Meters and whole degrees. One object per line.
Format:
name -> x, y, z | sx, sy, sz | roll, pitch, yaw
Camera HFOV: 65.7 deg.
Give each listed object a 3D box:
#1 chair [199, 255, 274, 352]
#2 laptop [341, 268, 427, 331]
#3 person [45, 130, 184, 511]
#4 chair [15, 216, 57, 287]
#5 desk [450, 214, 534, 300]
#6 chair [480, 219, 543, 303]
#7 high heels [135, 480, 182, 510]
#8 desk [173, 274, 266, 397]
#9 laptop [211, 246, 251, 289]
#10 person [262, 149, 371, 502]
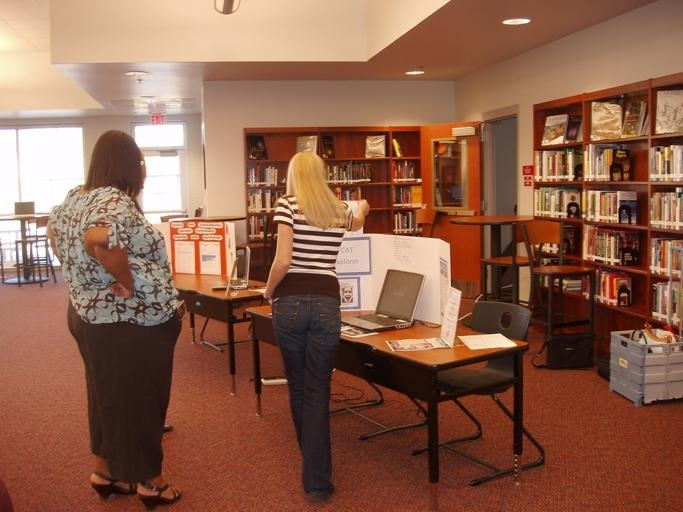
chair -> -1.093, 0.516, 5.284 | 0.713, 0.582, 1.022 | -9, 15, -36
laptop -> 0.289, 0.308, 3.623 | 0.468, 0.327, 0.429 | -4, 8, -32
person -> -1.301, 0.430, 3.066 | 0.656, 2.289, 0.505 | 0, 7, 22
chair -> -6.689, -0.169, 11.907 | 0.708, 1.258, 0.673 | 11, -14, 10
desk -> 2.096, 0.033, 7.031 | 1.069, 1.111, 1.107 | -3, -6, 3
chair -> 2.188, 0.036, 6.846 | 0.886, 1.032, 0.926 | -2, 7, 1
high heels -> -1.105, 1.448, 3.273 | 0.138, 0.152, 0.275 | 4, 7, 40
desk -> -1.124, 0.673, 5.229 | 0.566, 0.749, 1.528 | -10, 9, -32
laptop -> -1.042, 0.109, 5.010 | 0.317, 0.364, 0.393 | 0, 6, -12
person -> -0.223, 0.432, 3.313 | 0.462, 2.145, 0.353 | 1, 7, 27
